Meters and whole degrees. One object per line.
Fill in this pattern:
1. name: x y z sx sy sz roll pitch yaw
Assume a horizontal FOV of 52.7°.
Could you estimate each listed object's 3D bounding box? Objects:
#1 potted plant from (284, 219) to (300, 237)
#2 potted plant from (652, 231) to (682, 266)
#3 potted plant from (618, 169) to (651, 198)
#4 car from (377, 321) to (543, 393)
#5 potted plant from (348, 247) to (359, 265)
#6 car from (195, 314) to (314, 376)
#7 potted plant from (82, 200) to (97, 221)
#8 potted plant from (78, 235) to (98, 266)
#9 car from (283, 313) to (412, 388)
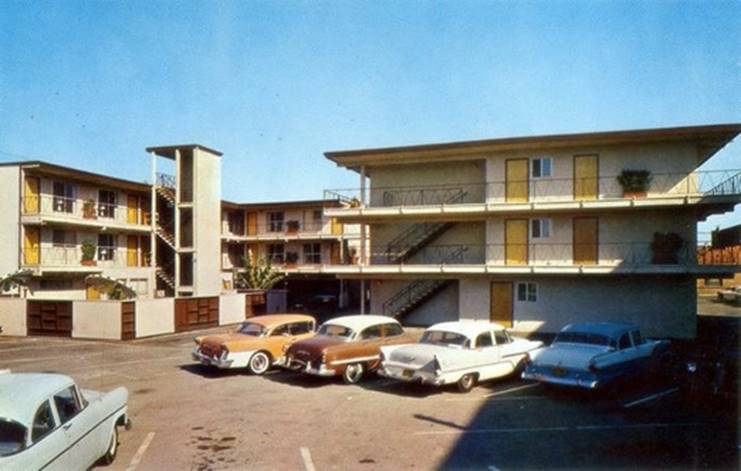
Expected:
1. potted plant: -6.314 -0.668 58.663 1.428 1.378 1.135 -1 -8 7
2. potted plant: 15.323 0.625 38.741 1.494 1.514 1.230 3 13 15
3. potted plant: 13.708 -2.709 38.820 1.390 1.742 1.823 1 -3 16
4. car: 3.943 4.961 30.359 5.987 1.888 2.799 -2 2 -40
5. potted plant: -1.232 1.333 53.502 0.709 1.514 2.116 -1 12 -4
6. car: -4.999 4.455 31.980 5.209 1.551 2.199 -4 4 -40
7. potted plant: -18.120 -1.649 48.220 0.804 1.162 1.544 0 12 1
8. potted plant: -17.874 1.025 47.346 1.486 2.649 1.426 0 -1 -21
9. car: -0.802 4.655 31.215 5.608 1.886 2.405 -1 1 -43
